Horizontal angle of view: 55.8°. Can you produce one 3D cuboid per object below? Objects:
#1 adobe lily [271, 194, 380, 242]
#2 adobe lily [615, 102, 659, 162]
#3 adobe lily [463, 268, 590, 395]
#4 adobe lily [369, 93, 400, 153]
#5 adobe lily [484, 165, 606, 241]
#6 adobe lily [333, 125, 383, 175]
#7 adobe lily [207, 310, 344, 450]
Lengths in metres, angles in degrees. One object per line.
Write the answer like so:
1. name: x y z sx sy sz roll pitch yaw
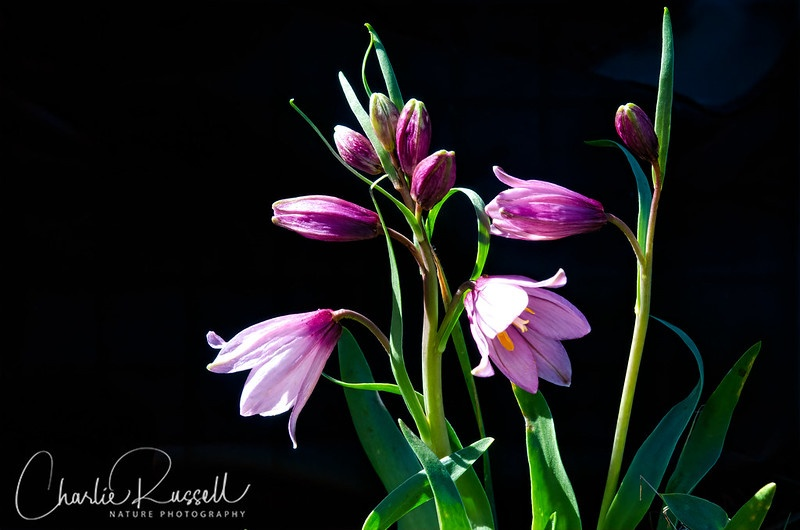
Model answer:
1. adobe lily: -0.149 -0.091 1.470 0.168 0.102 0.070 6 3 0
2. adobe lily: 0.477 -0.266 1.578 0.071 0.055 0.128 -26 89 -6
3. adobe lily: 0.244 0.111 1.554 0.125 0.234 0.254 41 13 -8
4. adobe lily: -0.035 -0.281 1.474 0.060 0.101 0.025 -11 7 11
5. adobe lily: 0.297 -0.113 1.575 0.213 0.139 0.123 1 64 -4
6. adobe lily: -0.080 -0.230 1.525 0.107 0.068 0.035 45 26 -2
7. adobe lily: -0.248 0.183 1.493 0.188 0.124 0.227 20 48 14
